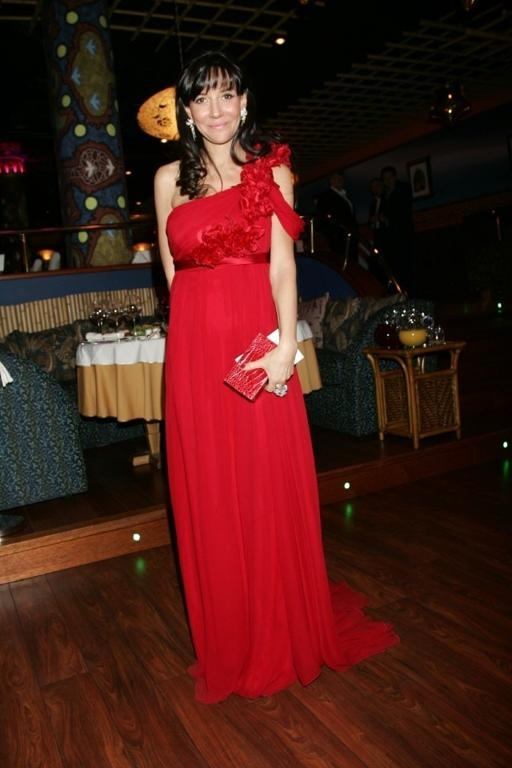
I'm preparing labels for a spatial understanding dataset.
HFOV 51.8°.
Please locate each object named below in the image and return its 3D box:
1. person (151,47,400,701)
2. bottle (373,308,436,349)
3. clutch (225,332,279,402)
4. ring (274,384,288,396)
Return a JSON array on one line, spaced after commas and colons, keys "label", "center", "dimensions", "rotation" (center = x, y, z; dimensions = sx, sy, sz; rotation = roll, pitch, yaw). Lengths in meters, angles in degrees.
[{"label": "person", "center": [0.019, 0.029, 1.331], "dimensions": [0.509, 1.445, 0.383], "rotation": [-6, 1, -11]}, {"label": "bottle", "center": [0.961, -0.357, 3.403], "dimensions": [0.244, 0.248, 0.368], "rotation": [-3, 1, -1]}, {"label": "clutch", "center": [0.003, -0.027, 1.206], "dimensions": [0.091, 0.178, 0.041], "rotation": [33, -11, 14]}, {"label": "ring", "center": [0.060, 0.017, 1.197], "dimensions": [0.028, 0.028, 0.011], "rotation": [18, -6, -3]}]
